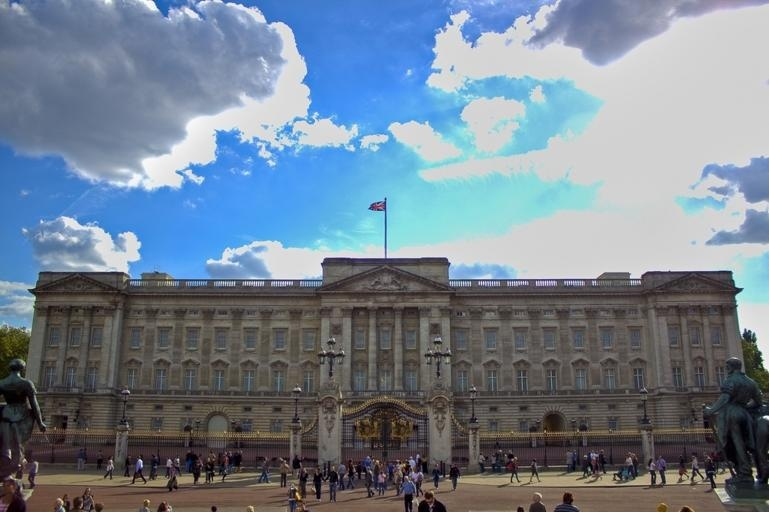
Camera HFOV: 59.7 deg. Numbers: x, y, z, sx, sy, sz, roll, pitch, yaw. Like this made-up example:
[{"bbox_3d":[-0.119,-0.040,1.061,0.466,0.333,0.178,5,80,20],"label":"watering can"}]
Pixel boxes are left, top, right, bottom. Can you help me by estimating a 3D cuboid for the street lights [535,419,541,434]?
[{"bbox_3d":[18.264,20.162,79.990,0.751,1.316,0.359,4,-16,-23],"label":"street lights"}]
